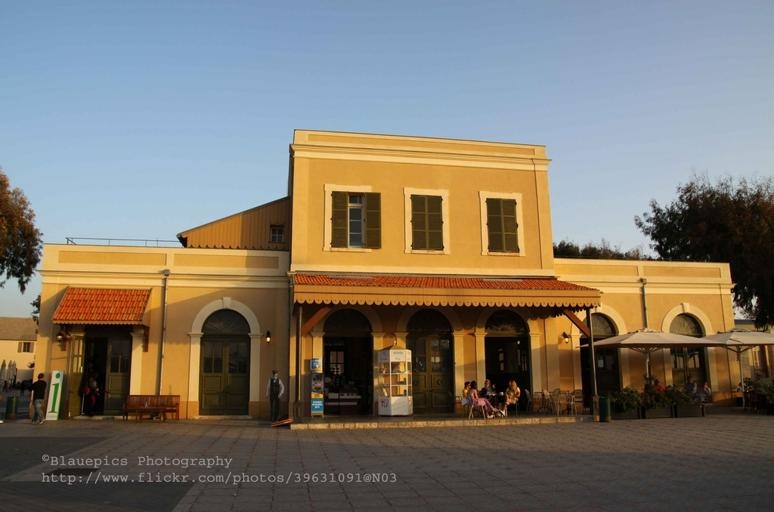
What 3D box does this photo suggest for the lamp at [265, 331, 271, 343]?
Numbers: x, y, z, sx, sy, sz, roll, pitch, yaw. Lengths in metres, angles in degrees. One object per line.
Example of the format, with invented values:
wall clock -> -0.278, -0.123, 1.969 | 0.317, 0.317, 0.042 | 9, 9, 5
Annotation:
lamp -> -4.834, 3.273, 24.590 | 0.212, 0.487, 0.157 | 4, -15, -23

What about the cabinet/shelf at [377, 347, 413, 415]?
cabinet/shelf -> 0.259, 4.961, 24.150 | 1.590, 2.520, 1.543 | 1, -12, -13

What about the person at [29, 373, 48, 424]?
person -> -13.077, 5.310, 22.715 | 0.480, 1.830, 1.309 | 6, -16, -28

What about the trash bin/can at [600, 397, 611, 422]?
trash bin/can -> 8.294, 5.808, 23.001 | 0.428, 0.869, 0.392 | -4, -14, 9

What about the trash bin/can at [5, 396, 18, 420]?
trash bin/can -> -14.677, 5.920, 23.617 | 0.360, 0.867, 0.609 | 6, -16, -31

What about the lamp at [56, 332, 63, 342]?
lamp -> -12.634, 3.092, 23.339 | 0.252, 0.218, 0.404 | 4, -15, -23

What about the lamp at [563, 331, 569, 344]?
lamp -> 7.838, 3.515, 26.422 | 0.455, 0.524, 0.261 | 8, -17, -35
